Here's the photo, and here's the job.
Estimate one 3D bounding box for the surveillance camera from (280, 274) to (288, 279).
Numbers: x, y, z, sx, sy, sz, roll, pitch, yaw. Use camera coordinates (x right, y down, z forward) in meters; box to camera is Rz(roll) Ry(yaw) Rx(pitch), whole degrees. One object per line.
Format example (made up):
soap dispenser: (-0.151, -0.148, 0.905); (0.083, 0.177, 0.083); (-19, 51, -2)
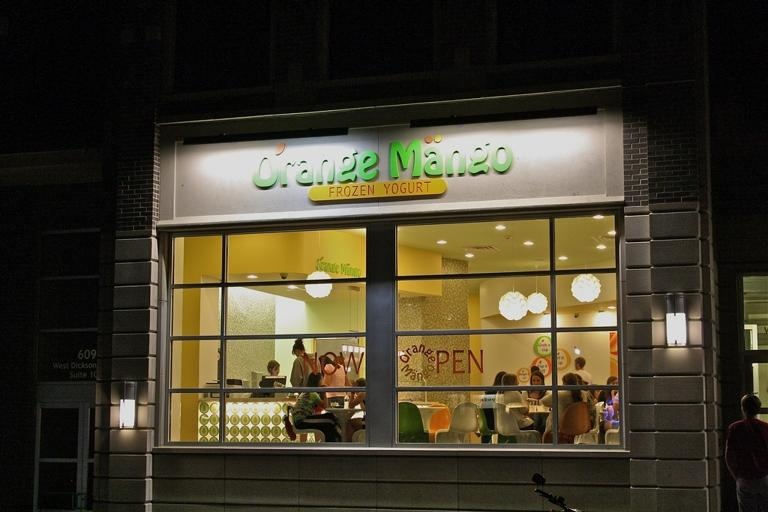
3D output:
surveillance camera: (-1.995, 0.387, 18.712); (0.125, 0.091, 0.105); (1, 1, -5)

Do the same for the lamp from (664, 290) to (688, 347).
lamp: (5.211, 1.133, 17.082); (0.401, 0.958, 0.197); (-4, -10, 16)

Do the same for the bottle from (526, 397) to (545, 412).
bottle: (2.822, 2.787, 17.740); (0.306, 0.318, 0.179); (-4, -4, 4)

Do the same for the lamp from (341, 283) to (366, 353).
lamp: (-0.539, 1.133, 18.438); (0.331, 1.243, 0.144); (-2, -9, 3)

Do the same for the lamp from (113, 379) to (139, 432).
lamp: (-5.054, 2.898, 18.678); (0.425, 0.935, 0.162); (-4, -10, 16)
